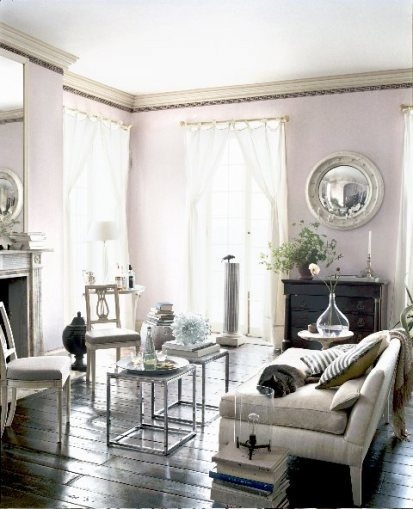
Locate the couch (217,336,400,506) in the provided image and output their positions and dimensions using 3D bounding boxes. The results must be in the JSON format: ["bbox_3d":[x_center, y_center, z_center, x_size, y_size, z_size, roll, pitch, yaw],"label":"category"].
[{"bbox_3d":[0.527,0.732,2.119,0.577,0.425,0.953,1,2,20],"label":"couch"}]

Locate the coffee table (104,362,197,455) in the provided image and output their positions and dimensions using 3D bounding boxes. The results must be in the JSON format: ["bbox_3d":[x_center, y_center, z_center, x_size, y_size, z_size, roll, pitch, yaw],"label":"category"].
[{"bbox_3d":[-0.322,0.905,2.681,0.514,0.401,0.531,1,-5,-3],"label":"coffee table"}]

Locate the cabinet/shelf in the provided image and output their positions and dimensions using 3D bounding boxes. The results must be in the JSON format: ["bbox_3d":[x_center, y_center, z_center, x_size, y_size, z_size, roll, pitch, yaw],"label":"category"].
[{"bbox_3d":[1.413,0.497,4.986,1.235,1.140,0.743,-1,-2,25],"label":"cabinet/shelf"}]

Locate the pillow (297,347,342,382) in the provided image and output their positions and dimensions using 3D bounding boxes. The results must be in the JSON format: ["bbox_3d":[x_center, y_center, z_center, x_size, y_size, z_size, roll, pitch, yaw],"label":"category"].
[{"bbox_3d":[0.638,0.629,2.572,0.167,0.049,0.157,-31,3,-43],"label":"pillow"}]

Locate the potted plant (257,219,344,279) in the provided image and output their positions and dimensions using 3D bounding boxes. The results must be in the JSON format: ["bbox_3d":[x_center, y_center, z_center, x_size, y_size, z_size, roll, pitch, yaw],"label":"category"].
[{"bbox_3d":[1.087,-0.065,5.133,0.838,0.660,0.534,0,-1,16],"label":"potted plant"}]

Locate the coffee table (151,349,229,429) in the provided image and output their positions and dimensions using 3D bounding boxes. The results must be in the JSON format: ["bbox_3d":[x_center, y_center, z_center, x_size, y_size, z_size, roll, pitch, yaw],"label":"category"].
[{"bbox_3d":[-0.107,0.920,3.194,0.504,0.462,0.467,-1,0,23],"label":"coffee table"}]

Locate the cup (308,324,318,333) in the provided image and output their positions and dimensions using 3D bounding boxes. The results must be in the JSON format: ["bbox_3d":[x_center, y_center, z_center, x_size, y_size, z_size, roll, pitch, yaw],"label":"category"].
[{"bbox_3d":[0.847,0.586,3.568,0.063,0.043,0.062,0,10,0],"label":"cup"}]

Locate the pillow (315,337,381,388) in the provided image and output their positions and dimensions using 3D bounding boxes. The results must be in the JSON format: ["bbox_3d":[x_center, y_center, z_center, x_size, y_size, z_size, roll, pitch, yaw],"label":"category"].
[{"bbox_3d":[0.695,0.431,2.169,0.218,0.204,0.483,7,1,21],"label":"pillow"}]

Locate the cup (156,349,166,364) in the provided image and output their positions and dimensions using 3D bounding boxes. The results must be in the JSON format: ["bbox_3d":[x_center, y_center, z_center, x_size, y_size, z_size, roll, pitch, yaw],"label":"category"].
[{"bbox_3d":[-0.269,0.604,2.639,0.065,0.084,0.062,1,7,0],"label":"cup"}]

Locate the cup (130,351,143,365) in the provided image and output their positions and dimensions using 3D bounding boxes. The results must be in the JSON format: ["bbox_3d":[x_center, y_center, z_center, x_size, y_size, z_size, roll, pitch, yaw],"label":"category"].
[{"bbox_3d":[-0.416,0.608,2.608,0.071,0.082,0.086,3,7,7],"label":"cup"}]

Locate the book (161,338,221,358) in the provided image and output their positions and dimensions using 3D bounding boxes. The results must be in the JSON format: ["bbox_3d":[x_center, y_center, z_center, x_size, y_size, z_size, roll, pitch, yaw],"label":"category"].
[{"bbox_3d":[-0.077,0.635,3.014,0.190,0.040,0.180,4,5,34],"label":"book"}]

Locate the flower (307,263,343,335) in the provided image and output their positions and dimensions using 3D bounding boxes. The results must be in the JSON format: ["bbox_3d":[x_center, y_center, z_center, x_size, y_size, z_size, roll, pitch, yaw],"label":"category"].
[{"bbox_3d":[0.911,0.340,3.367,0.318,0.534,0.278,5,9,39],"label":"flower"}]

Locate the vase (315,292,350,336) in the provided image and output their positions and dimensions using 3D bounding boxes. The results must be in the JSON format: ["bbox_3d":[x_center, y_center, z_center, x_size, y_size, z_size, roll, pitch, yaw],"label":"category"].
[{"bbox_3d":[0.922,0.437,3.396,0.293,0.416,0.290,0,6,10],"label":"vase"}]
